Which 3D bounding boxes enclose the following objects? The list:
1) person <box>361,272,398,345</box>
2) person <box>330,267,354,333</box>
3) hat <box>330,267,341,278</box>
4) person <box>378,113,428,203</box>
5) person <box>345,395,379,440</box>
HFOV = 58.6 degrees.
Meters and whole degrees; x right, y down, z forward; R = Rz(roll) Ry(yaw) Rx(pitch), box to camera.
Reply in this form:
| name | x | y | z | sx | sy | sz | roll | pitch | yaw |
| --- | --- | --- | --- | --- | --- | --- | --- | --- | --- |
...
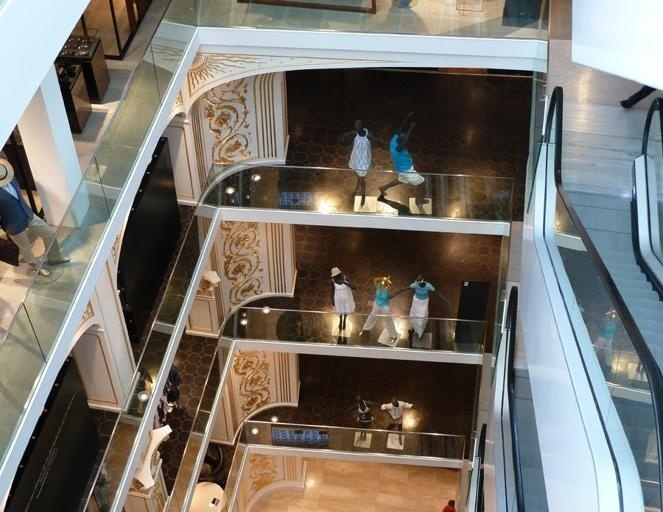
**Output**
| name | x | y | z | sx | sy | sz | roll | pitch | yaw |
| --- | --- | --- | --- | --- | --- | --- | --- | --- | --- |
| person | 0.970 | 1.088 | 11.858 | 0.713 | 1.295 | 1.164 | 3 | -3 | 3 |
| person | 0.236 | 0.900 | 11.734 | 0.414 | 1.278 | 0.986 | 3 | -3 | 2 |
| hat | 0.062 | 0.338 | 11.401 | 0.185 | 0.102 | 0.174 | -31 | 25 | 17 |
| person | 1.286 | -1.764 | 10.993 | 0.799 | 1.604 | 0.577 | 3 | 37 | 15 |
| person | 0.723 | 3.662 | 13.480 | 0.552 | 0.806 | 1.432 | 3 | -3 | 3 |
